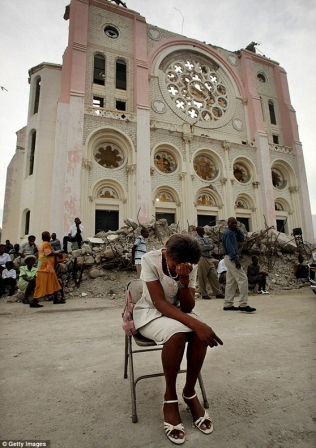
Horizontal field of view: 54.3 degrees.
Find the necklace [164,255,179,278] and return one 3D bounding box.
[{"bbox_3d":[0.092,0.302,2.110,0.030,0.147,0.114,-15,1,19],"label":"necklace"}]

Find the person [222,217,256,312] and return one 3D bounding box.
[{"bbox_3d":[1.385,0.696,5.417,0.507,1.639,0.609,-2,-6,12],"label":"person"}]

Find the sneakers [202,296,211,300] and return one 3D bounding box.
[{"bbox_3d":[1.131,1.716,7.104,0.074,0.086,0.200,5,-16,-33],"label":"sneakers"}]

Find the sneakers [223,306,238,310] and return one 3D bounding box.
[{"bbox_3d":[1.266,1.480,5.392,0.248,0.102,0.086,-1,-7,2],"label":"sneakers"}]

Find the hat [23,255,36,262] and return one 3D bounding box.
[{"bbox_3d":[-2.845,0.748,6.760,0.200,0.072,0.203,-20,-24,-1],"label":"hat"}]

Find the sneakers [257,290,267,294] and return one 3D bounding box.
[{"bbox_3d":[2.676,1.761,7.881,0.188,0.082,0.077,-3,-3,18],"label":"sneakers"}]

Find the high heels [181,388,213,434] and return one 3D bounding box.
[{"bbox_3d":[0.240,1.090,1.744,0.071,0.044,0.241,-5,-7,-12],"label":"high heels"}]

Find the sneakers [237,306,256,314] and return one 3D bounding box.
[{"bbox_3d":[1.492,1.433,5.174,0.310,0.115,0.272,-3,-7,14],"label":"sneakers"}]

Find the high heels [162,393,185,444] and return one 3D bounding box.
[{"bbox_3d":[0.089,1.083,1.699,0.120,0.163,0.201,-1,-6,3],"label":"high heels"}]

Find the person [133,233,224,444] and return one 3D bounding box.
[{"bbox_3d":[0.118,0.630,1.985,0.443,1.126,0.614,2,-7,-21],"label":"person"}]

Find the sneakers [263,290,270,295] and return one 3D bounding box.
[{"bbox_3d":[2.786,1.771,7.880,0.075,0.090,0.206,-4,-8,34],"label":"sneakers"}]
